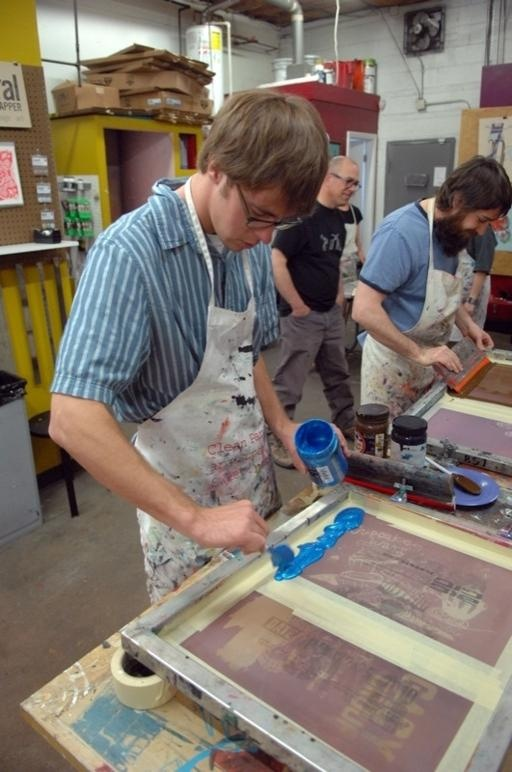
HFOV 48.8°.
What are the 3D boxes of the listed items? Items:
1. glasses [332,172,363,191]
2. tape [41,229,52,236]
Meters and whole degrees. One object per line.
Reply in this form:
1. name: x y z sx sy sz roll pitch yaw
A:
1. glasses: 0.526 -1.192 3.274 0.111 0.034 0.113 44 30 18
2. tape: -1.048 -0.771 2.810 0.031 0.043 0.024 2 47 -5
